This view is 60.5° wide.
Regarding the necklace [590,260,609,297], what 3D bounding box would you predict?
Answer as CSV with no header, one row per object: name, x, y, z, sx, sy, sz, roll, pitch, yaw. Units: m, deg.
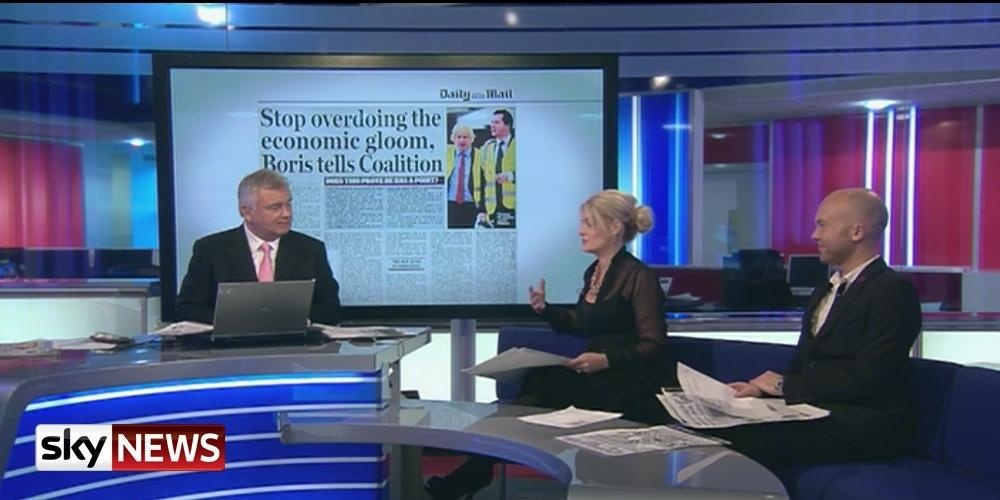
necklace,0.845,0.241,7.170,0.113,0.250,0.208,25,-18,-26

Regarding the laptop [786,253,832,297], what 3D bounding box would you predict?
laptop,2.988,0.256,8.246,0.585,0.438,0.164,-1,1,2

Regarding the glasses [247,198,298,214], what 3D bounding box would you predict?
glasses,-1.929,-0.371,7.237,0.318,0.103,0.090,-3,2,-20

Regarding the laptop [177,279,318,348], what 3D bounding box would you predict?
laptop,-1.858,0.370,6.714,0.889,0.456,0.539,0,10,-14

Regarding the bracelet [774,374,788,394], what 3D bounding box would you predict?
bracelet,2.149,1.041,6.569,0.052,0.107,0.092,-4,-7,10
